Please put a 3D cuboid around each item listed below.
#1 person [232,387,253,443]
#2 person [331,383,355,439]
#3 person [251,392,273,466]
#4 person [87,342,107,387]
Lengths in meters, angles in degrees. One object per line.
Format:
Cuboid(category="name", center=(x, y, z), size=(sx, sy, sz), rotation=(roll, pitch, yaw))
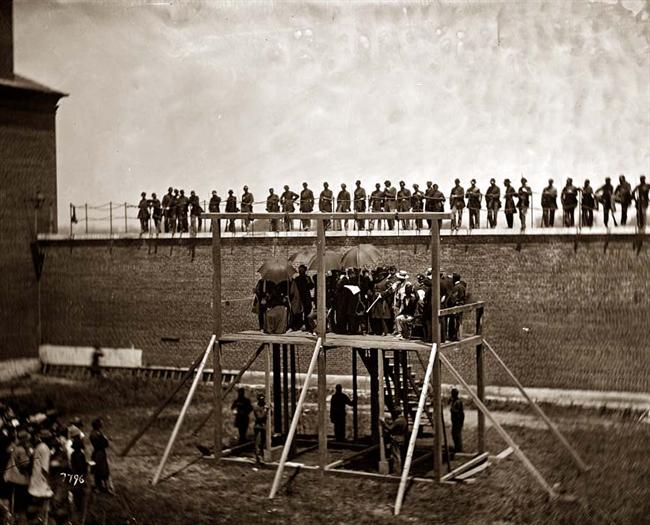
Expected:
Cuboid(category="person", center=(-1.777, 3.190, 22.423), size=(0.432, 1.313, 0.331), rotation=(2, 21, -7))
Cuboid(category="person", center=(0.343, 3.190, 22.986), size=(0.458, 1.241, 1.190), rotation=(1, 0, 0))
Cuboid(category="person", center=(-1.306, 3.394, 21.745), size=(0.313, 1.410, 1.190), rotation=(1, 0, -4))
Cuboid(category="person", center=(-5.595, 2.435, 26.316), size=(0.350, 0.738, 0.752), rotation=(1, 0, -13))
